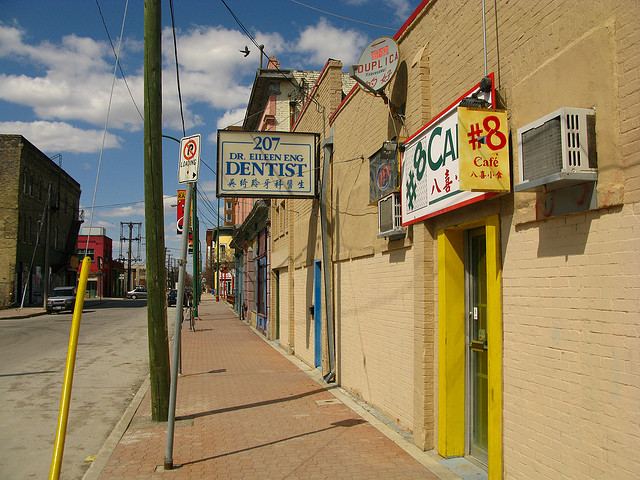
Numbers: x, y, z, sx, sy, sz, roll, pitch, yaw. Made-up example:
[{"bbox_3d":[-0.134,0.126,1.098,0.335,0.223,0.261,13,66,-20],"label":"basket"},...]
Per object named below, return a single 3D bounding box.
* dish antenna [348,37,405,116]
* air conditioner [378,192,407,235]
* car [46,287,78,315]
[{"bbox_3d":[0.884,-2.688,9.202,0.951,0.940,0.244,-5,-5,45],"label":"dish antenna"},{"bbox_3d":[1.091,-0.374,8.972,0.194,0.607,0.615,1,-5,-15],"label":"air conditioner"},{"bbox_3d":[-16.313,3.827,36.354,1.587,1.538,2.660,0,-5,-21],"label":"car"}]
